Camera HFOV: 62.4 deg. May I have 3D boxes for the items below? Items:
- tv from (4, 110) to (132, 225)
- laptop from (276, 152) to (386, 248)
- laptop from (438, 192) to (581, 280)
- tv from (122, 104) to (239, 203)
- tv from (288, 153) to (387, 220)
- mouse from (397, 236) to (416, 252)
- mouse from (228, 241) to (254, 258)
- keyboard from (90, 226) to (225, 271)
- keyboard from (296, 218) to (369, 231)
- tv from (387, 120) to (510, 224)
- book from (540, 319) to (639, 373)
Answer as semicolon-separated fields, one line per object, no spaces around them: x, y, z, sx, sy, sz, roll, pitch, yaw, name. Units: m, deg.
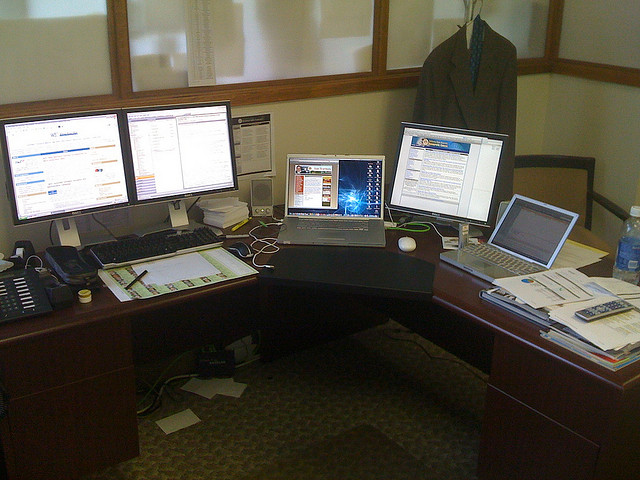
-1.100;-0.331;2.270;0.468;0.392;0.034;-14;19;-33;tv
0.062;-0.195;2.529;0.525;0.295;0.437;6;27;10;laptop
0.801;-0.016;2.278;0.394;0.286;0.369;-12;25;-31;laptop
-0.673;-0.416;2.471;0.463;0.355;0.035;-11;19;-28;tv
0.126;-0.236;2.525;0.526;0.339;0.301;-1;9;-19;tv
0.397;0.014;2.441;0.066;0.039;0.065;-8;24;-18;mouse
-0.343;0.039;2.406;0.108;0.048;0.112;-15;26;-36;mouse
-0.734;0.028;2.413;0.565;0.076;0.204;-10;24;-27;keyboard
0.060;-0.077;2.613;0.215;0.008;0.072;5;38;6;keyboard
0.623;-0.328;2.592;0.524;0.451;0.200;13;35;13;tv
0.929;0.355;1.826;0.295;0.065;0.133;17;26;36;book
